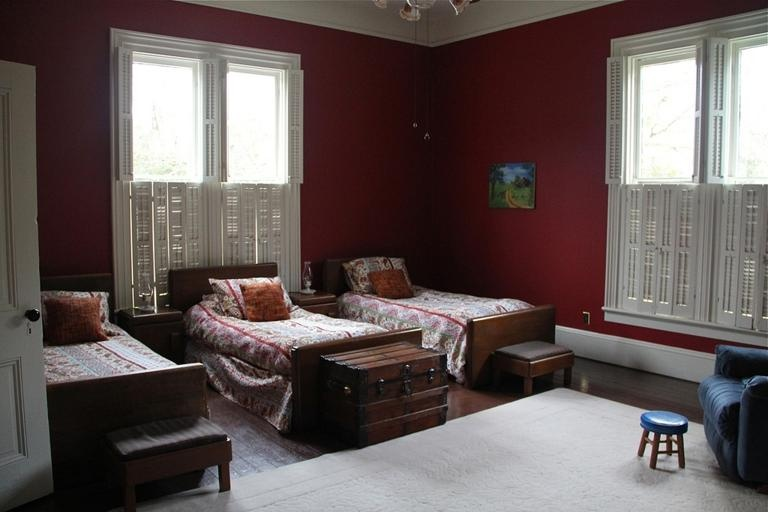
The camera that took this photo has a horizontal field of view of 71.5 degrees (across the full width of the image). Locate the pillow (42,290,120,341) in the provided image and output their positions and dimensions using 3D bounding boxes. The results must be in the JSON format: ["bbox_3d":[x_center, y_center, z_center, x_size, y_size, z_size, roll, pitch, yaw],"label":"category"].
[{"bbox_3d":[-3.053,0.571,5.216,0.579,0.536,0.174,-1,-23,-33],"label":"pillow"}]

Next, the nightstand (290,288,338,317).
[{"bbox_3d":[-0.919,0.578,6.824,0.393,0.368,0.382,-3,4,-35],"label":"nightstand"}]

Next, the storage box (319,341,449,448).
[{"bbox_3d":[0.011,1.257,4.914,1.100,0.688,0.669,-1,2,-41],"label":"storage box"}]

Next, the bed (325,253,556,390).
[{"bbox_3d":[0.666,0.708,6.432,1.237,0.766,1.772,-4,5,-41],"label":"bed"}]

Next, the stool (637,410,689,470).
[{"bbox_3d":[2.185,1.454,4.268,0.247,0.254,0.241,-3,-12,-26],"label":"stool"}]

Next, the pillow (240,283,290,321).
[{"bbox_3d":[-1.396,0.516,6.096,0.651,0.219,0.637,-18,18,-28],"label":"pillow"}]

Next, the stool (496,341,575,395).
[{"bbox_3d":[1.660,1.193,5.947,0.597,0.420,0.853,-13,-1,-13],"label":"stool"}]

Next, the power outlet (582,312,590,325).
[{"bbox_3d":[2.515,0.761,6.647,0.024,0.163,0.114,-10,15,-42],"label":"power outlet"}]

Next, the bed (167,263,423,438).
[{"bbox_3d":[-1.122,0.837,6.026,1.752,1.224,2.739,-1,5,-42],"label":"bed"}]

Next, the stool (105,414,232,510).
[{"bbox_3d":[-1.581,1.273,3.855,0.765,0.447,0.532,-3,3,-39],"label":"stool"}]

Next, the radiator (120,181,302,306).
[{"bbox_3d":[-2.167,-0.155,6.382,1.565,1.061,0.082,-2,5,-35],"label":"radiator"}]
